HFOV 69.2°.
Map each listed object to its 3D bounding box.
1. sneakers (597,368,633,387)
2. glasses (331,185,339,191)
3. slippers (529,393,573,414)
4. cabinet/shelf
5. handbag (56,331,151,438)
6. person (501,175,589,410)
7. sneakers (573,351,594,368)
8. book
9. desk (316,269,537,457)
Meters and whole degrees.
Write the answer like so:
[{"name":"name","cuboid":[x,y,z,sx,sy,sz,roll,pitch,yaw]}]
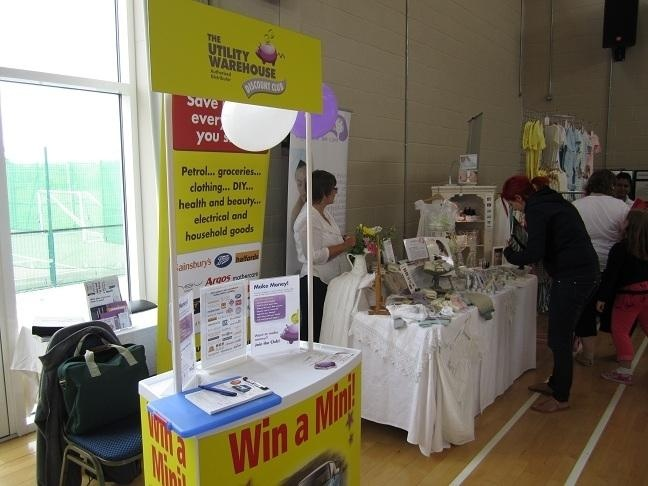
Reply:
[{"name":"sneakers","cuboid":[2.910,1.333,4.732,0.128,0.152,0.318,-8,9,-39]},{"name":"glasses","cuboid":[0.108,-0.522,4.522,0.058,0.067,0.057,1,14,16]},{"name":"slippers","cuboid":[1.991,1.440,4.174,0.253,0.121,0.177,2,6,6]},{"name":"cabinet/shelf","cuboid":[1.612,0.005,5.448,0.715,1.355,0.370,-1,-31,23]},{"name":"handbag","cuboid":[-1.390,0.909,2.924,0.192,0.558,0.509,-9,2,43]},{"name":"person","cuboid":[2.004,0.439,4.199,0.616,2.089,0.854,-6,6,-38]},{"name":"sneakers","cuboid":[2.787,1.232,5.060,0.104,0.111,0.247,-7,16,1]},{"name":"book","cuboid":[-0.447,0.706,2.195,0.373,0.026,0.243,-6,14,-28]},{"name":"desk","cuboid":[1.144,0.969,4.142,1.109,0.704,1.753,5,11,42]}]
